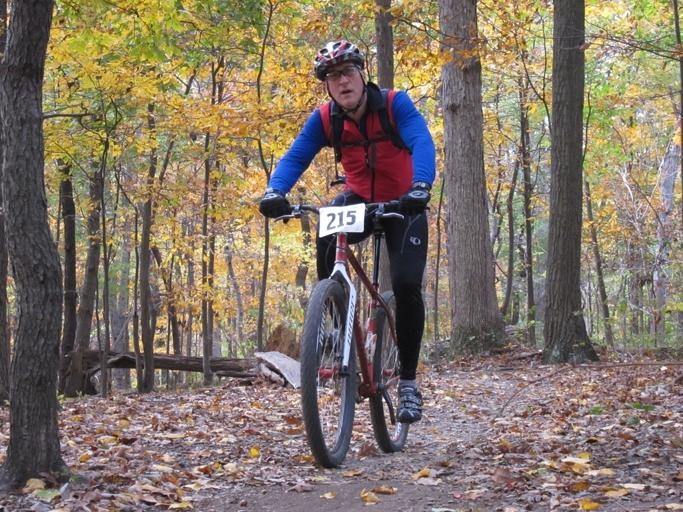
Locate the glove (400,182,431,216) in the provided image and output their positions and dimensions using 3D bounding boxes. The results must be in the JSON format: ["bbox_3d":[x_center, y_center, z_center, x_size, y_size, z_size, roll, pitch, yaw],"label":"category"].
[{"bbox_3d":[0.995,-0.767,14.663,0.434,0.430,0.314,-3,10,1],"label":"glove"}]

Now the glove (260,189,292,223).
[{"bbox_3d":[-0.919,-0.685,14.762,0.438,0.430,0.400,-4,10,-4],"label":"glove"}]
